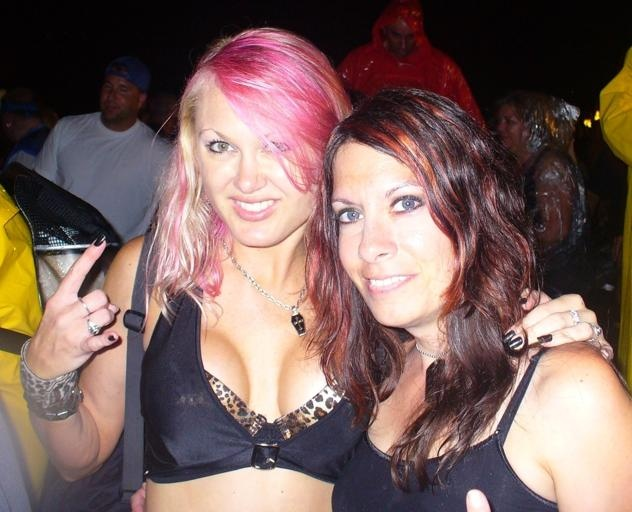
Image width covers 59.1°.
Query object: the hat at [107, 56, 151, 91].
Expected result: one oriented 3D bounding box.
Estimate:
[{"bbox_3d":[-1.677,-1.677,5.074,0.368,0.230,0.290,20,20,-31],"label":"hat"}]
